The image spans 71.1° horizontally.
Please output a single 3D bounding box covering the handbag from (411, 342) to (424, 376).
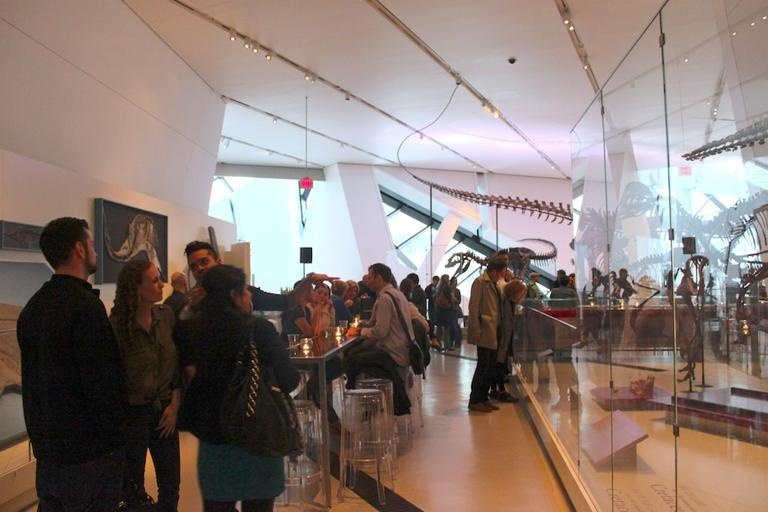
[{"bbox_3d":[0.327,1.004,5.342,0.133,0.339,0.319,-1,0,7],"label":"handbag"}]

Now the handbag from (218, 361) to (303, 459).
[{"bbox_3d":[-0.665,0.801,2.779,0.208,0.428,0.425,-9,-21,36],"label":"handbag"}]

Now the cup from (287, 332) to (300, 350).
[{"bbox_3d":[-0.760,0.712,4.460,0.089,0.091,0.091,-1,-9,0],"label":"cup"}]

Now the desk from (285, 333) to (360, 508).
[{"bbox_3d":[-0.483,1.292,4.193,0.541,1.218,1.412,-1,0,5],"label":"desk"}]
